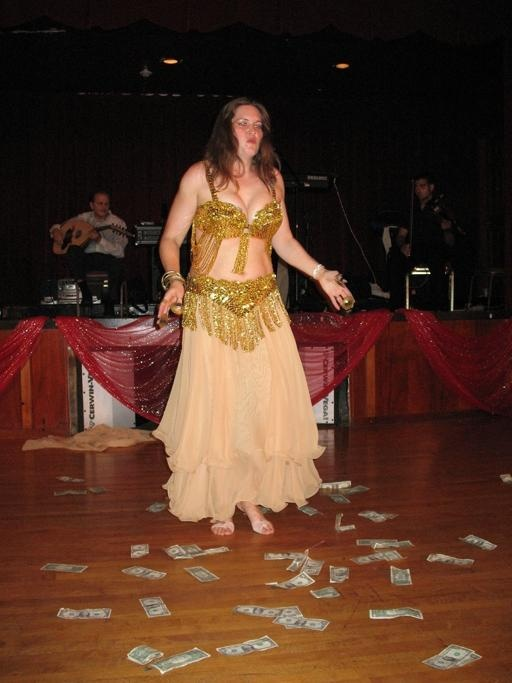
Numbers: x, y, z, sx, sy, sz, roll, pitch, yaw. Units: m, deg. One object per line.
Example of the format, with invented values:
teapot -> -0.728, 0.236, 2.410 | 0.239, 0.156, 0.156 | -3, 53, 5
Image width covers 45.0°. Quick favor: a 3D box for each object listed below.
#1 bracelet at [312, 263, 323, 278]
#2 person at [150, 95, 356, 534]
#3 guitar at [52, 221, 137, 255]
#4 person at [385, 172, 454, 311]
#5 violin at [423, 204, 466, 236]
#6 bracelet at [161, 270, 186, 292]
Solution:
bracelet -> 0.249, -0.285, 2.501 | 0.022, 0.054, 0.049 | 19, -10, -19
person -> -0.017, -0.090, 2.396 | 0.737, 1.674, 0.528 | 0, 4, -10
guitar -> -2.024, -1.270, 7.341 | 1.071, 0.426, 0.144 | -1, -16, 10
person -> 1.654, -0.946, 6.212 | 0.632, 1.257, 1.543 | 1, 3, 12
violin -> 1.852, -1.182, 5.930 | 0.477, 0.301, 0.257 | -1, 4, -27
bracelet -> -0.310, -0.223, 2.263 | 0.077, 0.069, 0.028 | 0, 6, 1
